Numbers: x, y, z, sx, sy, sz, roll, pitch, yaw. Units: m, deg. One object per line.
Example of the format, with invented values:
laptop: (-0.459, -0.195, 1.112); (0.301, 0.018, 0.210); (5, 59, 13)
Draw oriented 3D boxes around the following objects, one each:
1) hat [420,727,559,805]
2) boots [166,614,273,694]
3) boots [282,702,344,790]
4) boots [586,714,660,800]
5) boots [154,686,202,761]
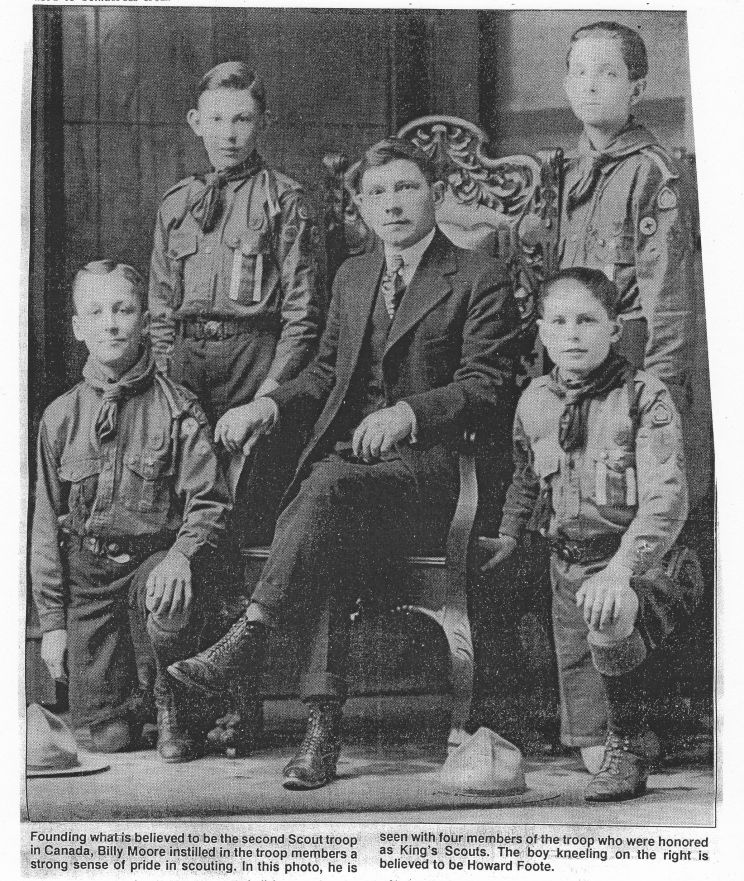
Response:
hat: (0.605, 1.786, 6.985); (0.534, 0.353, 0.362); (-1, -2, -1)
boots: (-0.858, 1.202, 7.063); (0.608, 0.442, 0.256); (11, -13, -40)
boots: (-0.326, 1.659, 6.968); (0.211, 0.426, 0.562); (3, 5, 23)
boots: (1.400, 1.788, 7.114); (0.195, 0.287, 0.600); (2, 10, 25)
boots: (-1.133, 1.594, 7.065); (0.195, 0.405, 0.399); (-3, 13, -19)
